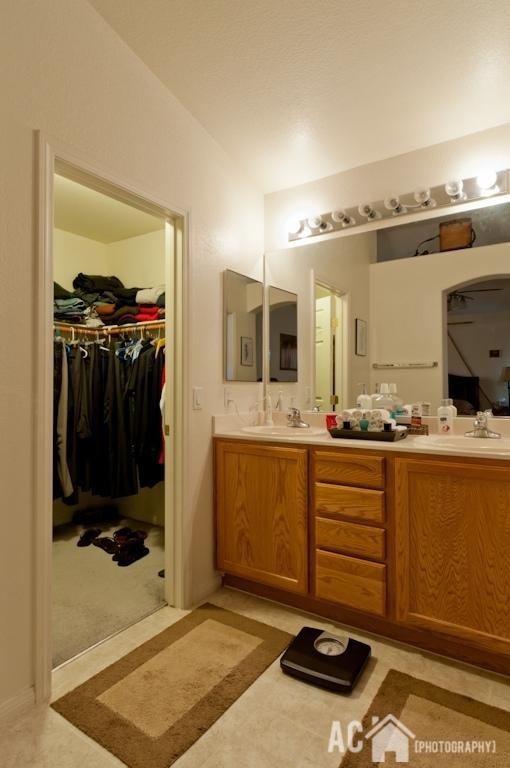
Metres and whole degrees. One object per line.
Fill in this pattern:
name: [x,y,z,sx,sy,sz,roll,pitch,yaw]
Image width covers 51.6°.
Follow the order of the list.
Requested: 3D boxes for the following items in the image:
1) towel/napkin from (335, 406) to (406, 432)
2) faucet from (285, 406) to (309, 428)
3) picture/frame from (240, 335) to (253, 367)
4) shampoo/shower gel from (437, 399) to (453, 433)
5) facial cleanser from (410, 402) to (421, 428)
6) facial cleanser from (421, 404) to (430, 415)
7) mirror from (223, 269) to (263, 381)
towel/napkin: [0.520,0.163,2.371,0.307,0.095,0.198,1,4,11]
faucet: [0.215,0.190,2.858,0.156,0.135,0.058,-1,0,40]
picture/frame: [-0.050,-0.177,2.880,0.012,0.172,0.155,-1,-4,24]
shampoo/shower gel: [0.892,0.152,2.451,0.073,0.155,0.082,2,4,26]
facial cleanser: [0.773,0.146,2.522,0.050,0.098,0.038,1,3,18]
facial cleanser: [0.817,0.128,2.520,0.042,0.061,0.045,-4,-8,16]
mirror: [-0.061,-0.301,2.889,0.095,0.592,0.457,1,3,18]
